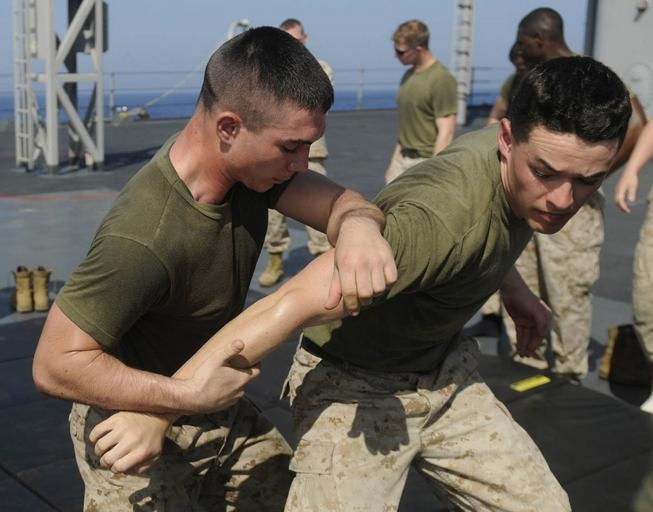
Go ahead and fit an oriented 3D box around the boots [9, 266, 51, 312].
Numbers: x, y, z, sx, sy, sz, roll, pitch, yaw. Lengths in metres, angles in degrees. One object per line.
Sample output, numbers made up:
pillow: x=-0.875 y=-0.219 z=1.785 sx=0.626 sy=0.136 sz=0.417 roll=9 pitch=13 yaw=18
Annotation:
boots: x=-2.084 y=0.228 z=7.195 sx=0.287 sy=0.323 sz=0.340 roll=0 pitch=20 yaw=-12
